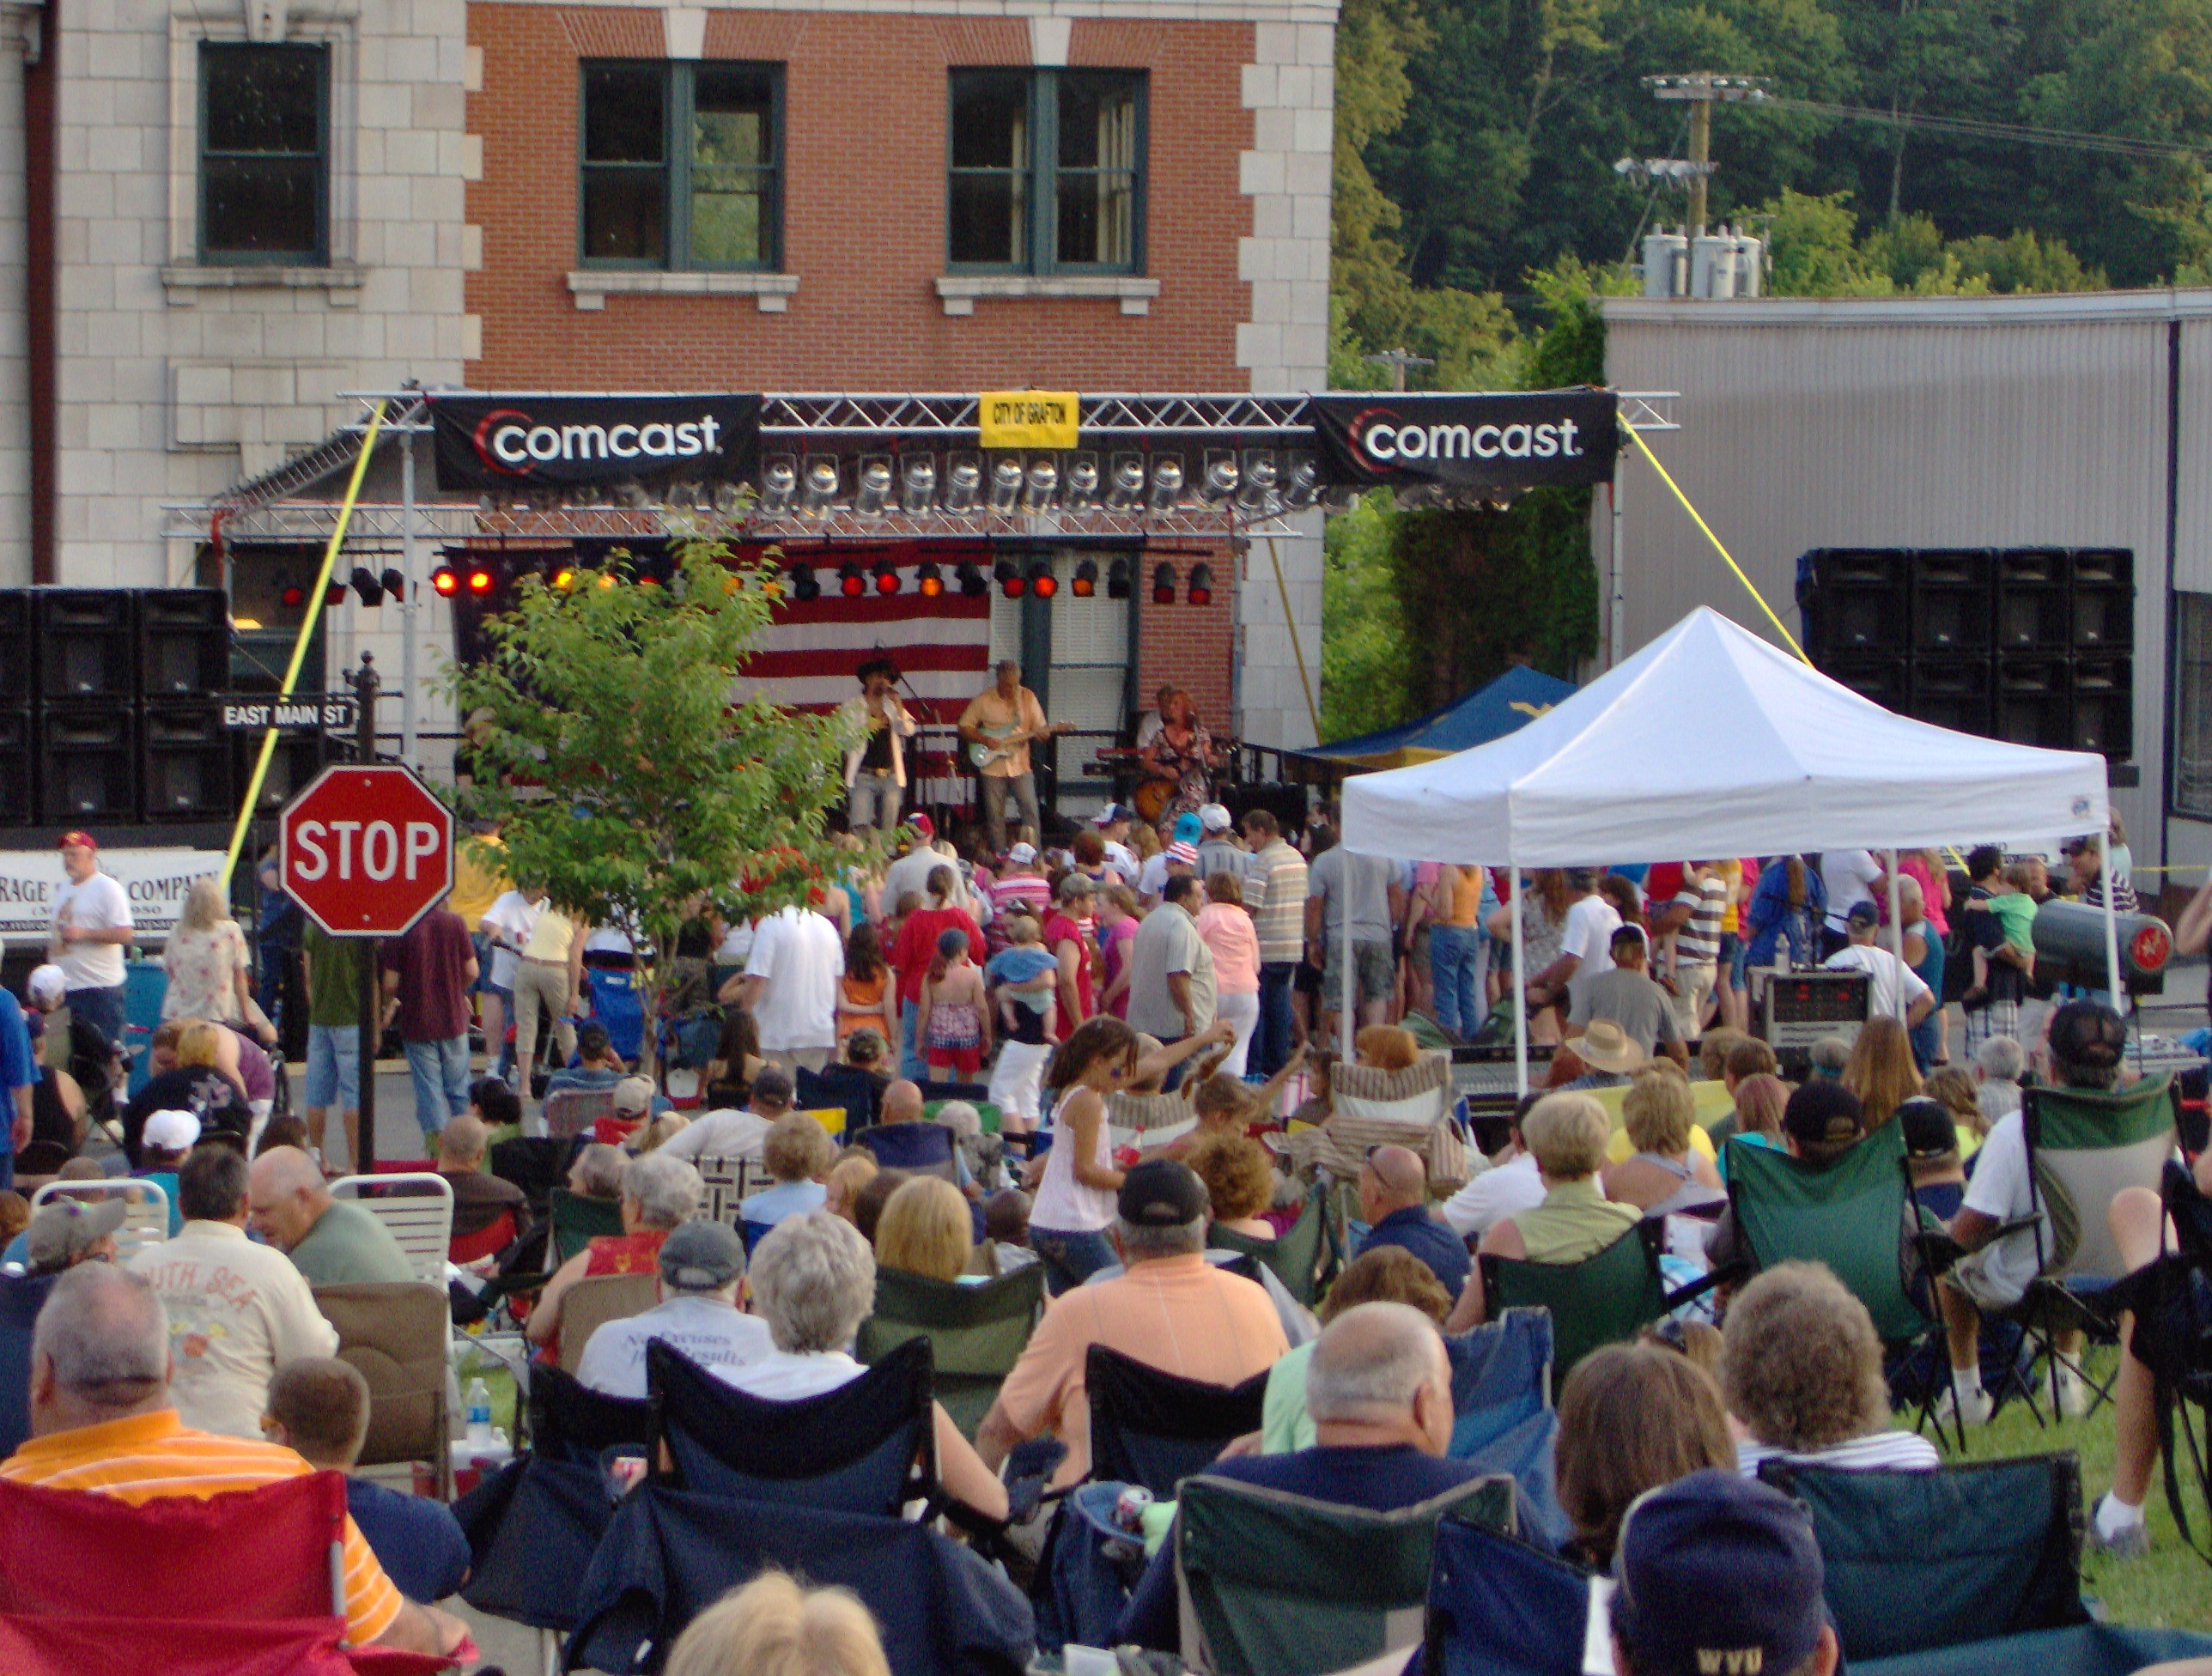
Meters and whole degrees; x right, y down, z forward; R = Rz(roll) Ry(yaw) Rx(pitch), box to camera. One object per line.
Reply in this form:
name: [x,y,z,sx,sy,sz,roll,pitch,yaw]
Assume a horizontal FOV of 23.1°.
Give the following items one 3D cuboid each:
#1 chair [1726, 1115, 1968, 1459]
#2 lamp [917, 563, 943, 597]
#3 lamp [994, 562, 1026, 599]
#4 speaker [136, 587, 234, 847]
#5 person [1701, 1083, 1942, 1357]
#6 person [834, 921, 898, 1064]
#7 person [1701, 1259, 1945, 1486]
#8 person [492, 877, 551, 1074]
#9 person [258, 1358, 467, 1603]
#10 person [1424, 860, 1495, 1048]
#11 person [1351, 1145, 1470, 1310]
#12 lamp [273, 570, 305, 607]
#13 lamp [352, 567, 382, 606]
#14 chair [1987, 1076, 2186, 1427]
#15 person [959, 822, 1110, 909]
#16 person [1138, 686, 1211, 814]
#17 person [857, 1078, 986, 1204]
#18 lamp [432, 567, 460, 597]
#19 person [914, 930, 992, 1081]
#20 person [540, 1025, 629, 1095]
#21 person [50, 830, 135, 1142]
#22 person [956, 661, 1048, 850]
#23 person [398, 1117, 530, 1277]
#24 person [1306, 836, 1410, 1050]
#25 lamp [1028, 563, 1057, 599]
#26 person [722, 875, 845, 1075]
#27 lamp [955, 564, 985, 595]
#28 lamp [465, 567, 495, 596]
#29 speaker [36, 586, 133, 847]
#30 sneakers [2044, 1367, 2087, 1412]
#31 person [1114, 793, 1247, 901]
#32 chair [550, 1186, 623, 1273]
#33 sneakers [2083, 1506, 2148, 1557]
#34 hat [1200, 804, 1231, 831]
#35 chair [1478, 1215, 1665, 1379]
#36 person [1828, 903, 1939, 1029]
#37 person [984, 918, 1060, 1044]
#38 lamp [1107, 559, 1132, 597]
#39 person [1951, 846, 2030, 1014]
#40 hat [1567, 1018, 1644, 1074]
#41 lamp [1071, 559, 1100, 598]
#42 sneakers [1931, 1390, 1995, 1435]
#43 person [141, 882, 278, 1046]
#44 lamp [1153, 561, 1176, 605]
chair: [3.618,2.502,28.816,1.251,2.178,1.439,-1,-9,8]
lamp: [-1.631,-2.331,48.646,0.186,0.244,0.202,-5,10,1]
lamp: [-0.928,-2.372,49.377,0.266,0.331,0.261,0,0,-6]
speaker: [-7.002,-0.992,40.771,0.659,1.749,0.311,0,0,-12]
person: [4.239,2.433,31.958,1.003,2.261,1.312,-2,-9,-3]
person: [-1.743,1.389,38.066,0.491,1.467,0.468,0,0,-7]
person: [3.658,2.841,28.366,0.910,1.611,1.052,-1,3,5]
person: [-4.334,1.098,39.287,0.533,1.571,0.375,-1,23,-20]
person: [-3.954,3.434,28.737,0.585,1.017,1.259,-14,-7,-18]
person: [2.548,0.871,40.462,0.466,1.290,0.941,0,0,6]
person: [1.678,2.284,30.765,0.607,0.941,0.477,-9,10,-16]
lamp: [-7.217,-2.197,47.586,0.222,0.262,0.232,0,-1,-8]
lamp: [-6.424,-2.198,46.772,0.263,0.319,0.834,0,0,-5]
chair: [5.628,2.352,32.125,1.270,2.308,1.565,1,-5,-10]
person: [-0.508,0.260,40.685,0.786,0.421,0.637,-4,1,11]
person: [0.605,-0.637,47.244,0.581,1.472,0.503,7,26,22]
person: [-1.181,1.815,33.539,0.491,0.466,0.871,1,5,-8]
lamp: [-5.618,-2.178,45.682,0.196,0.264,0.213,-2,4,-2]
person: [-1.100,1.206,37.640,0.464,1.107,0.449,0,0,-8]
person: [-3.583,1.686,37.007,0.533,0.316,0.801,1,7,-5]
person: [-7.251,1.083,38.173,0.590,2.231,0.598,6,13,35]
person: [-0.924,-0.723,47.677,0.773,1.671,1.231,0,0,0]
person: [-4.042,2.440,33.301,0.614,1.301,0.633,6,-1,28]
person: [1.834,0.782,40.014,0.704,1.810,0.473,-2,22,-5]
lamp: [-0.601,-2.352,49.177,0.227,0.296,0.563,0,0,2]
person: [-2.403,1.221,37.888,0.525,1.876,0.606,6,19,27]
lamp: [-1.261,-2.358,48.546,0.220,0.254,0.243,2,-12,4]
lamp: [-5.315,-2.177,45.637,0.171,0.201,0.102,3,-12,-1]
speaker: [-7.680,-0.961,40.480,0.716,1.755,0.234,0,0,-13]
sneakers: [5.618,3.312,31.793,0.182,0.446,0.263,0,-6,-9]
person: [0.545,0.103,41.462,0.983,0.444,0.465,-12,13,42]
chair: [-3.135,2.355,31.861,0.328,0.638,0.410,2,6,-2]
sneakers: [5.588,3.911,29.991,0.158,0.245,0.329,0,6,-14]
hat: [0.799,-0.136,42.018,0.168,0.236,0.221,3,-43,6]
chair: [2.632,2.647,30.947,0.718,1.453,0.854,-3,9,-15]
person: [5.397,0.935,37.629,0.594,1.445,0.483,-5,12,-2]
person: [-0.551,1.151,38.250,0.484,1.162,0.371,5,19,32]
lamp: [0.079,-2.399,49.253,0.245,0.374,0.269,2,0,-12]
person: [6.701,0.735,40.405,0.577,1.121,0.534,3,-13,-1]
hat: [3.143,1.354,34.148,0.399,0.335,0.293,0,0,3]
lamp: [-0.251,-2.362,48.864,0.289,0.463,0.264,0,-3,-7]
sneakers: [4.978,3.416,31.575,0.175,0.265,0.358,-2,7,-17]
person: [-6.201,1.253,37.160,0.844,1.853,0.477,4,-31,-12]
lamp: [0.470,-2.320,48.867,0.265,0.455,0.287,3,0,3]
